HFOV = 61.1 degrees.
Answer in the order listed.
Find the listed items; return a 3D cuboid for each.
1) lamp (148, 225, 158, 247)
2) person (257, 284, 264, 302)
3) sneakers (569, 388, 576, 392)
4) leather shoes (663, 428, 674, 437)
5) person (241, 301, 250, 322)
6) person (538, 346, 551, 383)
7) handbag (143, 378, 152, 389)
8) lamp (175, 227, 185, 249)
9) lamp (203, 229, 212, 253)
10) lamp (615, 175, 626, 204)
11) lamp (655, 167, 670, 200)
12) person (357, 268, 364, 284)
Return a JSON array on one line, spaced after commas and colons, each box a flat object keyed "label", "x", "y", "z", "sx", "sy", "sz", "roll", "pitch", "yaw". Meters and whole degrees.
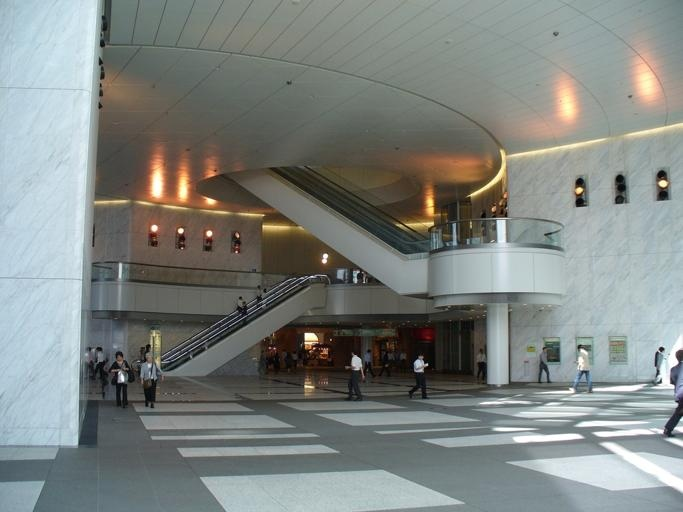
[{"label": "lamp", "x": -10.473, "y": -1.167, "z": 32.194, "sx": 0.567, "sy": 1.293, "sz": 0.133, "roll": 4, "pitch": -8, "yaw": -35}, {"label": "person", "x": -4.390, "y": 1.977, "z": 31.215, "sx": 0.339, "sy": 0.959, "sz": 0.421, "roll": 8, "pitch": 21, "yaw": -11}, {"label": "sneakers", "x": 7.529, "y": 4.390, "z": 18.977, "sx": 0.197, "sy": 0.060, "sz": 0.266, "roll": 4, "pitch": -5, "yaw": -4}, {"label": "leather shoes", "x": 5.783, "y": 3.130, "z": 10.247, "sx": 0.218, "sy": 0.145, "sz": 0.080, "roll": -2, "pitch": 1, "yaw": -12}, {"label": "person", "x": -4.764, "y": 2.796, "z": 28.542, "sx": 0.393, "sy": 0.923, "sz": 1.813, "roll": 1, "pitch": -7, "yaw": -9}, {"label": "person", "x": 7.802, "y": 4.211, "z": 22.467, "sx": 0.465, "sy": 1.379, "sz": 1.163, "roll": -3, "pitch": -7, "yaw": 19}, {"label": "handbag", "x": -4.867, "y": 3.188, "z": 14.483, "sx": 0.280, "sy": 0.251, "sz": 0.088, "roll": -1, "pitch": -11, "yaw": 1}, {"label": "lamp", "x": -9.187, "y": -1.025, "z": 32.951, "sx": 0.565, "sy": 1.290, "sz": 0.131, "roll": 5, "pitch": -8, "yaw": -36}, {"label": "lamp", "x": -7.775, "y": -0.910, "z": 33.644, "sx": 0.528, "sy": 1.266, "sz": 0.130, "roll": 4, "pitch": -8, "yaw": -30}, {"label": "lamp", "x": 10.700, "y": -2.618, "z": 22.276, "sx": 0.427, "sy": 1.154, "sz": 0.178, "roll": -3, "pitch": -7, "yaw": 21}, {"label": "lamp", "x": 11.952, "y": -2.673, "z": 21.654, "sx": 0.472, "sy": 1.176, "sz": 0.165, "roll": -4, "pitch": -7, "yaw": 27}, {"label": "person", "x": 0.965, "y": 1.119, "z": 30.265, "sx": 0.540, "sy": 0.679, "sz": 0.539, "roll": 1, "pitch": -5, "yaw": 3}]
